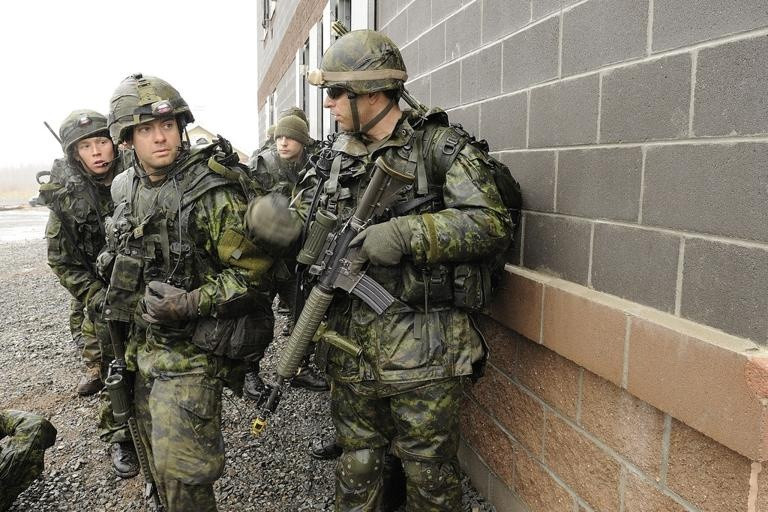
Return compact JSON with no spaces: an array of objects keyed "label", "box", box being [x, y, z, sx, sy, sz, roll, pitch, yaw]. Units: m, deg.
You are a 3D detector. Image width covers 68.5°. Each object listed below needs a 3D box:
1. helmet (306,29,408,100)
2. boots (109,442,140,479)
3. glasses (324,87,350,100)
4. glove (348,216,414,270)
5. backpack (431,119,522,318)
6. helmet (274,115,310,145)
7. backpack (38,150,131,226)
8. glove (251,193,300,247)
[{"label":"helmet","box":[-0.161,-1.128,3.335,0.464,0.303,0.364,1,18,-6]},{"label":"boots","box":[-2.069,1.585,4.467,0.361,0.165,0.148,32,11,37]},{"label":"glasses","box":[-0.288,-0.941,3.300,0.102,0.040,0.074,-6,10,-38]},{"label":"glove","box":[-0.021,-0.062,3.162,0.345,0.300,0.160,-2,12,-3]},{"label":"backpack","box":[0.551,-0.233,3.340,0.646,1.102,0.430,-3,12,-7]},{"label":"helmet","box":[-0.994,-1.356,6.065,0.242,0.284,0.348,12,14,9]},{"label":"backpack","box":[-2.502,-0.552,4.735,0.586,0.882,0.377,7,1,-8]},{"label":"glove","box":[-0.606,-0.226,3.385,0.286,0.216,0.295,31,17,9]}]
